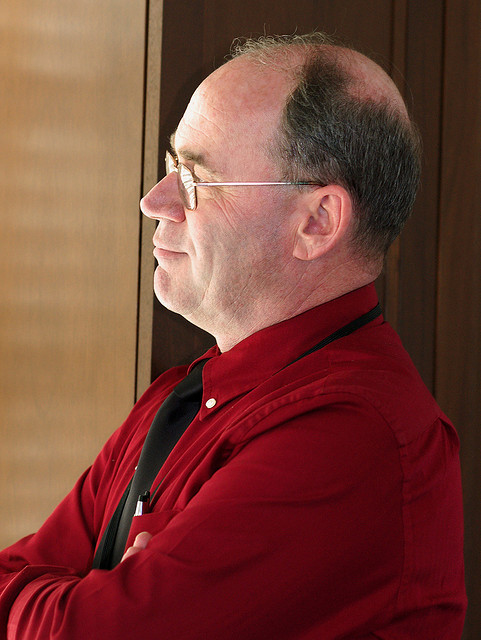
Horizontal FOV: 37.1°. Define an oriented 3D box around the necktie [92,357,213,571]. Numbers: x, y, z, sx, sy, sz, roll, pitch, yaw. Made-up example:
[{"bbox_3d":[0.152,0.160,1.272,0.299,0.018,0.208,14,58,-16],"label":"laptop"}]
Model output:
[{"bbox_3d":[-0.110,0.215,1.159,0.190,0.343,0.120,6,-19,-28],"label":"necktie"}]
